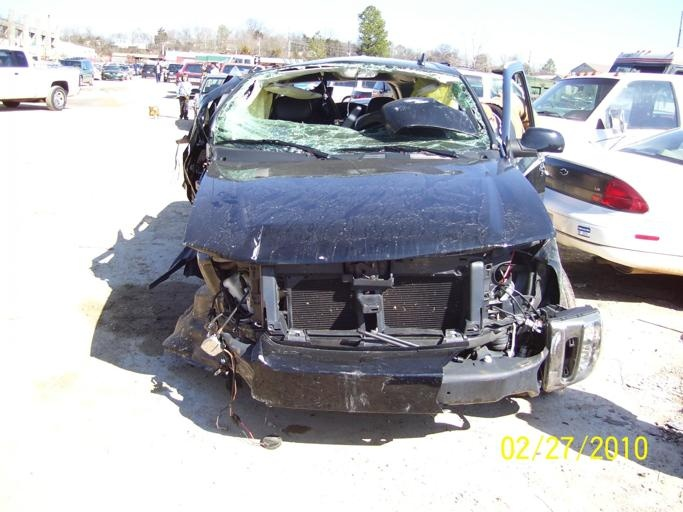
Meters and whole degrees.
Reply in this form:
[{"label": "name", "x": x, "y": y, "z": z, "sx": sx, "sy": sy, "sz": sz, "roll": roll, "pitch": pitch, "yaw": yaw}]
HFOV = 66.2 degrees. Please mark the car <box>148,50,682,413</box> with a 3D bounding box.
[{"label": "car", "x": 0.141, "y": -0.251, "z": 3.641, "sx": 2.595, "sy": 2.271, "sz": 2.455, "roll": -2, "pitch": 18, "yaw": -17}]
